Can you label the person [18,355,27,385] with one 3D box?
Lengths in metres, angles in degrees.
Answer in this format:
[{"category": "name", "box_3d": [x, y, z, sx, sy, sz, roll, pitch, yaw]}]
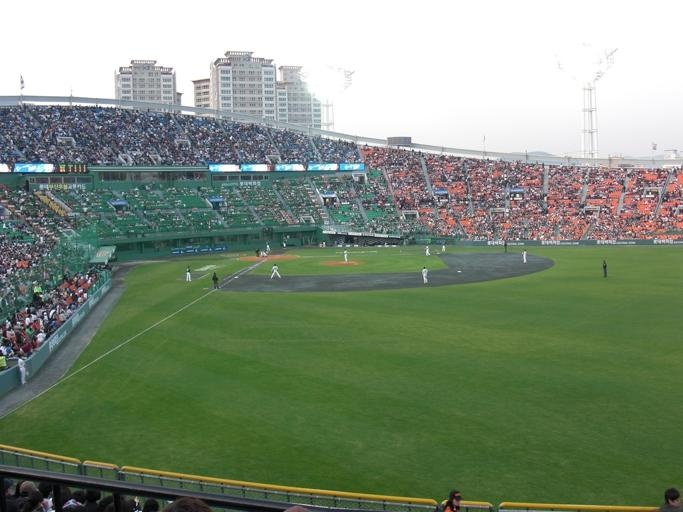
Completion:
[{"category": "person", "box_3d": [-16.675, 5.987, 38.481, 0.310, 1.281, 0.568, -7, 8, -20]}]
